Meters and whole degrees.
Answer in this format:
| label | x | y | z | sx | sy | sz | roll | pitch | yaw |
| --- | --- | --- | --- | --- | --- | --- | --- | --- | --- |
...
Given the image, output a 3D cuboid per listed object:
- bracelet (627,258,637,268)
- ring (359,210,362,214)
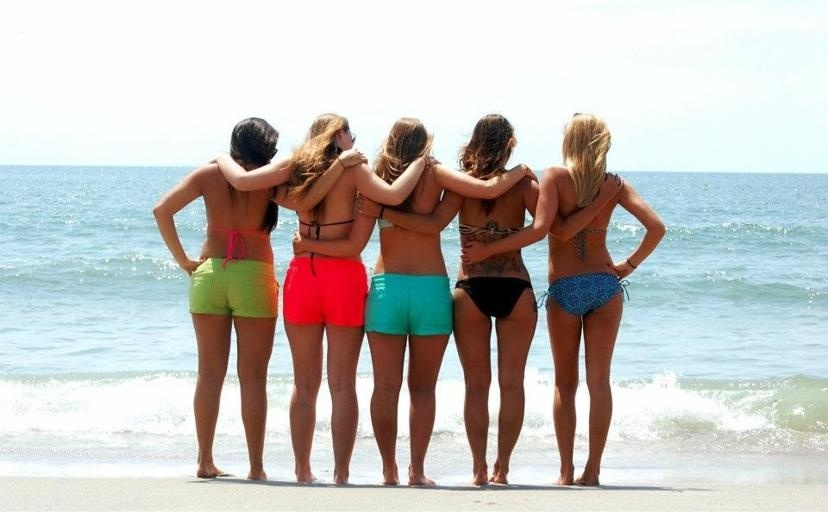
| label | x | y | z | sx | sy | sz | roll | pitch | yaw |
| --- | --- | --- | --- | --- | --- | --- | --- | --- | --- |
| bracelet | 2.780 | 0.084 | 13.262 | 0.125 | 0.035 | 0.127 | 38 | -10 | -34 |
| ring | -0.659 | -0.552 | 12.947 | 0.041 | 0.037 | 0.009 | 0 | -14 | -3 |
